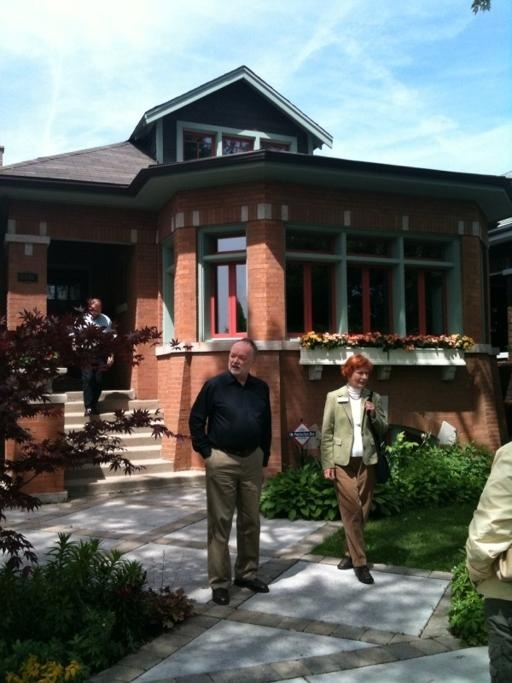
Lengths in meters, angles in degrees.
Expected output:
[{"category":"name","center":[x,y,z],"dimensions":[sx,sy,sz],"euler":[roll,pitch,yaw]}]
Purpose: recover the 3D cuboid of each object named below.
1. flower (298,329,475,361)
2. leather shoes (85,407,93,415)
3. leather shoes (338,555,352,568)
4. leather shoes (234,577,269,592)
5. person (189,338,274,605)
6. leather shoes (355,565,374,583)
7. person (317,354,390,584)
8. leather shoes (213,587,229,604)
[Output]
[{"category":"flower","center":[2.003,0.064,10.689],"dimensions":[3.024,0.404,0.485],"euler":[0,-9,-12]},{"category":"leather shoes","center":[-2.593,1.080,10.466],"dimensions":[0.109,0.111,0.122],"euler":[0,0,40]},{"category":"leather shoes","center":[0.711,1.796,5.470],"dimensions":[0.120,0.092,0.132],"euler":[2,-4,-17]},{"category":"leather shoes","center":[-0.038,1.780,4.929],"dimensions":[0.258,0.096,0.087],"euler":[-7,-11,42]},{"category":"person","center":[-0.148,0.902,4.978],"dimensions":[0.413,1.842,0.645],"euler":[-4,-7,43]},{"category":"leather shoes","center":[0.827,1.769,5.128],"dimensions":[0.125,0.112,0.206],"euler":[2,-4,-10]},{"category":"person","center":[0.848,1.092,5.406],"dimensions":[0.494,1.500,0.601],"euler":[3,-6,-21]},{"category":"leather shoes","center":[-0.241,1.744,4.617],"dimensions":[0.121,0.097,0.129],"euler":[1,-4,-3]}]
